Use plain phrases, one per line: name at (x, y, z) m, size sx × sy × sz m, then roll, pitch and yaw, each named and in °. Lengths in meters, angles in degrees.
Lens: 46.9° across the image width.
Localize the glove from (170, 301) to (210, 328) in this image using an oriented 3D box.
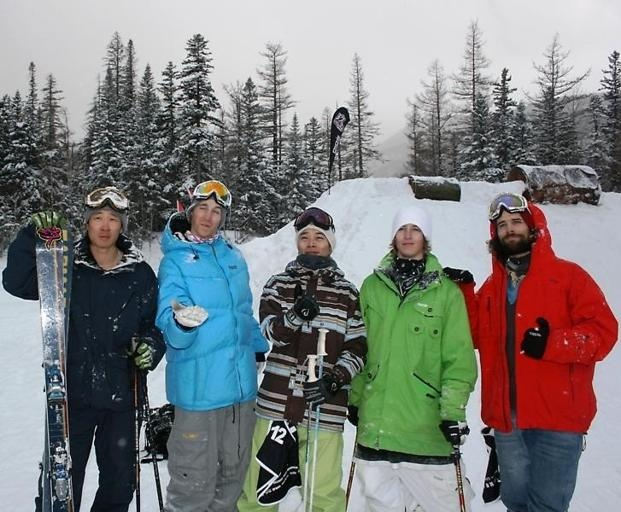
glove at (-1.292, 0.626, 7.593) m, size 0.323 × 0.254 × 0.104 m, roll 16°, pitch -26°, yaw 3°

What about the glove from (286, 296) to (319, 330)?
glove at (-0.093, 0.577, 7.765) m, size 0.251 × 0.481 × 0.339 m, roll 1°, pitch 29°, yaw -18°

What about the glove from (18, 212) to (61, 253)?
glove at (-2.929, -0.290, 8.032) m, size 0.339 × 0.410 × 0.134 m, roll 2°, pitch 11°, yaw -9°

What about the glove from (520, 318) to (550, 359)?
glove at (2.352, 0.863, 7.502) m, size 0.301 × 0.407 × 0.156 m, roll -5°, pitch -11°, yaw 32°

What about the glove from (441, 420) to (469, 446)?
glove at (1.544, 1.891, 7.581) m, size 0.225 × 0.324 × 0.286 m, roll -10°, pitch 22°, yaw 6°

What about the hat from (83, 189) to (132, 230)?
hat at (-2.348, -0.522, 8.312) m, size 0.397 × 0.318 × 0.557 m, roll 1°, pitch -35°, yaw -13°

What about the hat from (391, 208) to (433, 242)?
hat at (1.164, -0.374, 8.114) m, size 0.350 × 0.337 × 0.394 m, roll 1°, pitch -7°, yaw 7°

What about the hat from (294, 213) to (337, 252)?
hat at (0.057, -0.346, 8.359) m, size 0.459 × 0.276 × 0.560 m, roll -11°, pitch -26°, yaw 27°

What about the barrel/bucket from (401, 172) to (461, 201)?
barrel/bucket at (3.138, -1.722, 18.290) m, size 1.365 × 0.646 × 0.955 m, roll 3°, pitch 4°, yaw 26°
